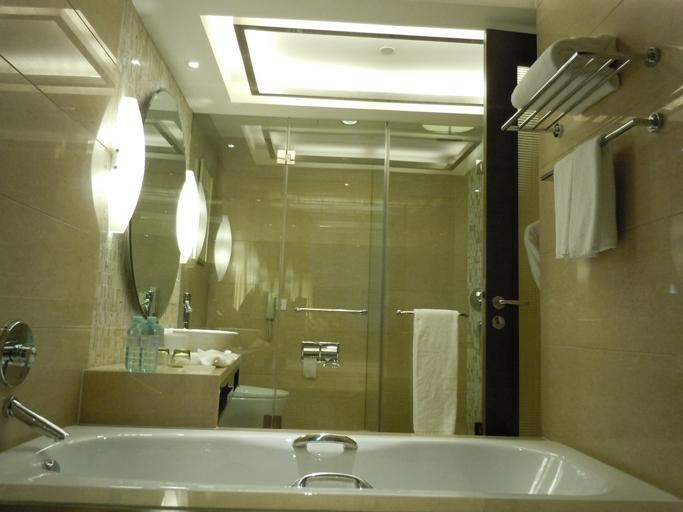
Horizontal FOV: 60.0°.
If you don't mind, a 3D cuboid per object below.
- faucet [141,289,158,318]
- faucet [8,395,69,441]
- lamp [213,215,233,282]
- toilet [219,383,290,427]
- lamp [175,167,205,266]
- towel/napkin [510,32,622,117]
[{"bbox_3d":[-1.137,0.273,3.515,0.061,0.173,0.174,3,63,-5],"label":"faucet"},{"bbox_3d":[-1.308,0.699,2.539,0.254,0.103,0.118,34,100,-8],"label":"faucet"},{"bbox_3d":[-0.788,-0.029,3.949,0.123,0.120,0.359,4,64,-5],"label":"lamp"},{"bbox_3d":[-0.507,1.047,3.867,0.376,0.237,0.297,-2,83,9],"label":"toilet"},{"bbox_3d":[-0.994,-0.242,3.907,0.173,0.051,0.457,16,98,5],"label":"lamp"},{"bbox_3d":[0.934,-0.754,2.626,0.281,0.346,0.124,15,73,-18],"label":"towel/napkin"}]
